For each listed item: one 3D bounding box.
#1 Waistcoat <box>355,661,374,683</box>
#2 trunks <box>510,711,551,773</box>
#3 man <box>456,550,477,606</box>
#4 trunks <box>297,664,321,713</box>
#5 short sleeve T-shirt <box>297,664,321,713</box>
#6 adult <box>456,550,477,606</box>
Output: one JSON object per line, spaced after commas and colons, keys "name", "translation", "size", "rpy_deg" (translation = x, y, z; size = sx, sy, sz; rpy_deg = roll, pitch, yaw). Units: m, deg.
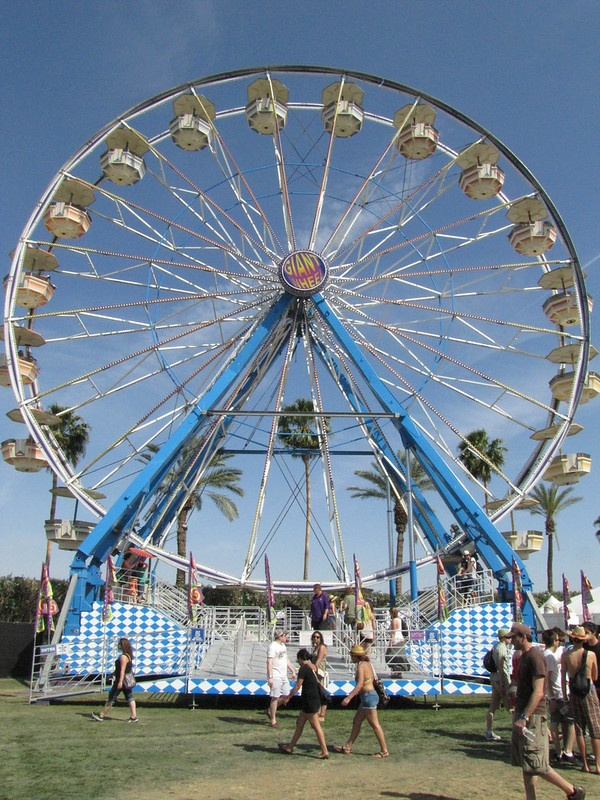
{"name": "Waistcoat", "translation": [0.656, 2.776, 6.234], "size": [0.182, 0.248, 0.247], "rpy_deg": [-1, -19, 5]}
{"name": "trunks", "translation": [1.568, 2.333, 4.269], "size": [0.212, 0.352, 0.292], "rpy_deg": [14, -19, -14]}
{"name": "man", "translation": [4.001, 4.297, 14.812], "size": [0.549, 1.184, 0.422], "rpy_deg": [6, -49, 16]}
{"name": "trunks", "translation": [0.086, 3.008, 6.485], "size": [0.195, 0.426, 0.289], "rpy_deg": [-16, -21, 25]}
{"name": "short sleeve T-shirt", "translation": [0.083, 3.012, 6.480], "size": [0.182, 0.418, 0.279], "rpy_deg": [-15, -24, 20]}
{"name": "adult", "translation": [4.102, 4.297, 14.949], "size": [0.543, 1.332, 0.490], "rpy_deg": [0, -31, 22]}
